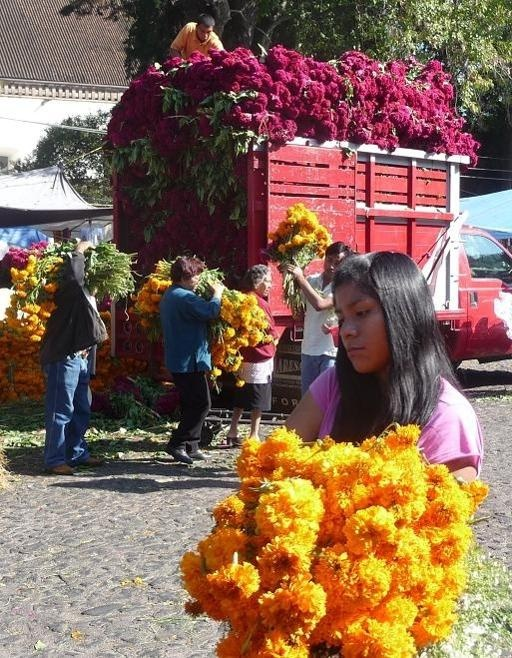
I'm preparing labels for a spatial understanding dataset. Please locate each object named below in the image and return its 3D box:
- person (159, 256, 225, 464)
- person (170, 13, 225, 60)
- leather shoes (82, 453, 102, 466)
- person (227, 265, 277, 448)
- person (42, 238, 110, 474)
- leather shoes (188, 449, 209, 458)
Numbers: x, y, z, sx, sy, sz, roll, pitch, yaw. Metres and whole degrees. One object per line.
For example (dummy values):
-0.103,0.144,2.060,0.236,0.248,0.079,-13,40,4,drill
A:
-0.548,0.288,6.364,0.526,1.823,0.471,0,3,-26,person
-0.787,-3.888,9.784,0.728,0.452,0.412,3,3,43,person
-1.424,1.151,6.381,0.072,0.104,0.216,-3,-12,24,leather shoes
-0.026,0.288,6.880,0.468,1.791,0.767,1,2,-4,person
-1.521,0.277,6.044,0.483,1.845,0.451,0,3,-29,person
-0.519,1.142,6.633,0.196,0.072,0.067,4,10,-17,leather shoes
